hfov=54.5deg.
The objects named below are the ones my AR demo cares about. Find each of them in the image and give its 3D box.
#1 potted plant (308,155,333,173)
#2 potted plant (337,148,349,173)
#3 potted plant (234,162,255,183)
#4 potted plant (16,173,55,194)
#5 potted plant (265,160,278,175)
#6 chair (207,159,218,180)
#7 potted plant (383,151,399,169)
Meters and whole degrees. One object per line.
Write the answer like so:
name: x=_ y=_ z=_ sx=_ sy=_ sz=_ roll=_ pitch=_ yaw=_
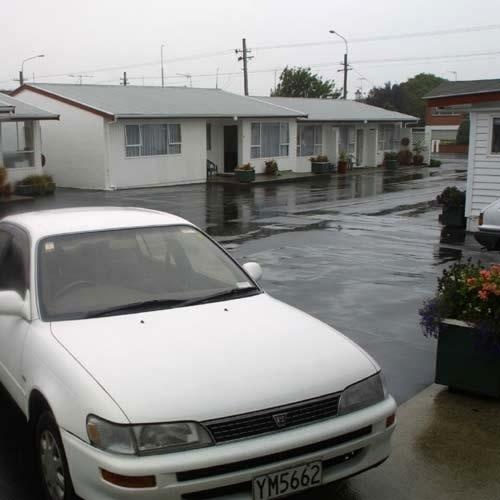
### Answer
potted plant: x=4.944 y=-6.378 z=33.692 sx=1.102 sy=1.461 sz=2.024 roll=4 pitch=12 yaw=30
potted plant: x=6.616 y=-6.530 z=34.756 sx=0.727 sy=1.589 sz=1.815 roll=1 pitch=9 yaw=10
potted plant: x=-0.267 y=-4.767 z=28.381 sx=1.081 sy=0.813 sz=1.124 roll=-1 pitch=14 yaw=-8
potted plant: x=-10.169 y=-3.224 z=23.059 sx=1.477 sy=1.012 sz=1.731 roll=-2 pitch=9 yaw=-9
potted plant: x=1.361 y=-5.480 z=31.075 sx=0.817 sy=0.646 sz=0.864 roll=5 pitch=23 yaw=9
chair: x=-2.410 y=-5.278 z=30.286 sx=0.526 sy=1.174 sz=0.968 roll=1 pitch=9 yaw=9
potted plant: x=10.861 y=-7.368 z=37.988 sx=1.149 sy=1.410 sz=1.270 roll=-1 pitch=8 yaw=-2
